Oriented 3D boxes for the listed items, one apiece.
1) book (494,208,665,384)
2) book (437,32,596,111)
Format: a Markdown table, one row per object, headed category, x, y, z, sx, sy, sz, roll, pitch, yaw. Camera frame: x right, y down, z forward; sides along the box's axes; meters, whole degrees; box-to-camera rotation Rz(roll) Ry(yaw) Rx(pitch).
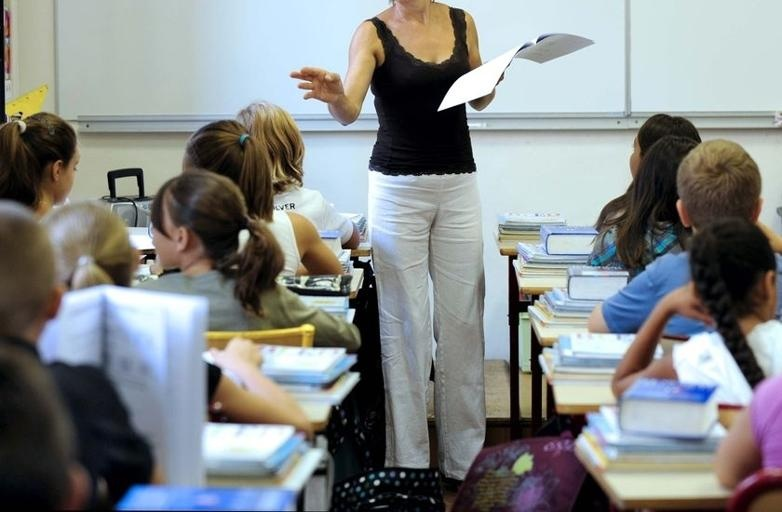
| category | x | y | z | sx | sy | sz | roll | pitch | yaw |
| --- | --- | --- | --- | --- | --- | --- | --- | --- | --- |
| book | 0.733 | 0.182 | 2.915 | 0.534 | 0.542 | 0.561 | -1 | 9 | -3 |
| book | 0.427 | -0.607 | 2.271 | 0.424 | 0.244 | 0.556 | 2 | 9 | 19 |
